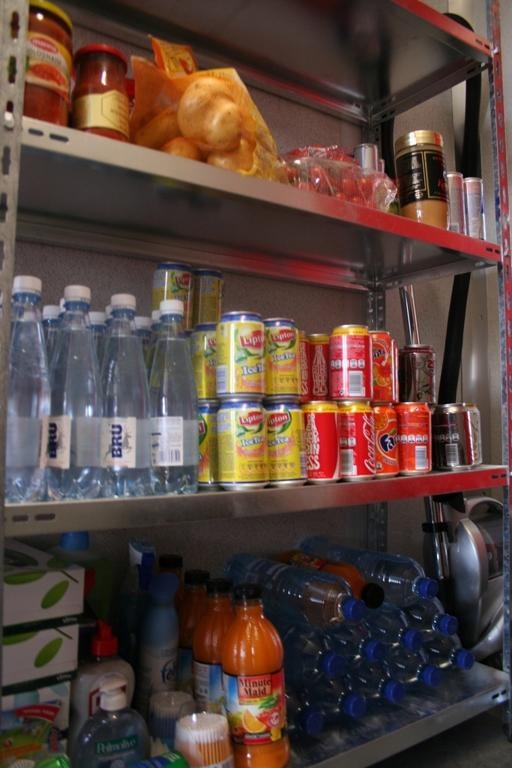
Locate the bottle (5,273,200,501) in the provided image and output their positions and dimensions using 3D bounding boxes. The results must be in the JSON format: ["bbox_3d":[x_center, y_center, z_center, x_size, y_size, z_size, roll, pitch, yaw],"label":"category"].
[{"bbox_3d":[-0.182,0.013,0.685,0.100,0.361,0.252,-11,-11,38],"label":"bottle"}]

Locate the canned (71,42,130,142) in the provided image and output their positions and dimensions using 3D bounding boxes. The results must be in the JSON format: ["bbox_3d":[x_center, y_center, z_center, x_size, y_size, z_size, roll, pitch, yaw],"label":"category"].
[{"bbox_3d":[-0.193,-0.355,0.707,0.068,0.128,0.065,-1,-5,-19],"label":"canned"}]
